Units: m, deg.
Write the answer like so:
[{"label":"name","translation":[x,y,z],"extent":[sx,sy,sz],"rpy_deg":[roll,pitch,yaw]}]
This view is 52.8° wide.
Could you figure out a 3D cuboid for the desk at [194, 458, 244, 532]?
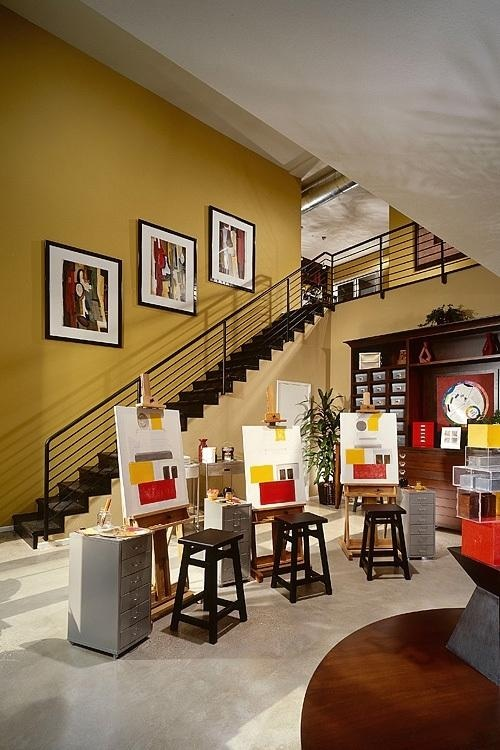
[{"label":"desk","translation":[-0.338,1.315,5.708],"extent":[0.511,0.766,0.377],"rpy_deg":[4,-8,-29]}]

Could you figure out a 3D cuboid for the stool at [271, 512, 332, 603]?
[{"label":"stool","translation":[0.389,1.341,3.884],"extent":[0.450,0.587,0.910],"rpy_deg":[1,-4,3]}]

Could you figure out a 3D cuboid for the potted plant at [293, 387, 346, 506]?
[{"label":"potted plant","translation":[1.041,1.021,7.614],"extent":[0.671,1.700,1.291],"rpy_deg":[0,-4,10]}]

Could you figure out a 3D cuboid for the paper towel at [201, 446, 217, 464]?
[{"label":"paper towel","translation":[-0.450,0.879,5.550],"extent":[0.214,0.249,0.132],"rpy_deg":[0,-4,2]}]

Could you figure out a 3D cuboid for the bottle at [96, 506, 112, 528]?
[{"label":"bottle","translation":[-0.857,0.803,2.952],"extent":[0.064,0.138,0.154],"rpy_deg":[1,-4,-12]}]

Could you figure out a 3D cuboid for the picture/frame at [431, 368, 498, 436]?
[{"label":"picture/frame","translation":[2.443,0.284,5.693],"extent":[0.072,0.661,0.690],"rpy_deg":[7,-7,-28]}]

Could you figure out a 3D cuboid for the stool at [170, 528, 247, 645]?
[{"label":"stool","translation":[-0.250,1.252,3.081],"extent":[0.358,0.534,0.431],"rpy_deg":[-1,-4,29]}]

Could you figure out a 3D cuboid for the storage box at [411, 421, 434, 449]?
[{"label":"storage box","translation":[2.084,0.719,6.122],"extent":[0.281,0.286,0.191],"rpy_deg":[-2,-4,37]}]

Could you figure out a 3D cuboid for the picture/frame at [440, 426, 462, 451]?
[{"label":"picture/frame","translation":[2.300,0.723,5.750],"extent":[0.024,0.273,0.213],"rpy_deg":[23,-20,-36]}]

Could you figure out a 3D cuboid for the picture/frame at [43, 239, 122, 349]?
[{"label":"picture/frame","translation":[-1.973,-0.927,5.815],"extent":[0.047,1.463,1.158],"rpy_deg":[-5,-6,33]}]

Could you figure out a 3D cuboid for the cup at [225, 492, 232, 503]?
[{"label":"cup","translation":[-0.170,0.981,4.043],"extent":[0.037,0.061,0.040],"rpy_deg":[-3,0,0]}]
